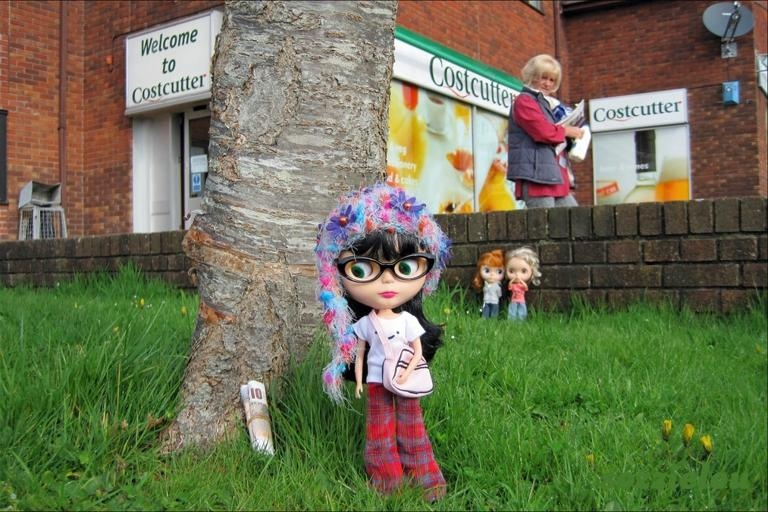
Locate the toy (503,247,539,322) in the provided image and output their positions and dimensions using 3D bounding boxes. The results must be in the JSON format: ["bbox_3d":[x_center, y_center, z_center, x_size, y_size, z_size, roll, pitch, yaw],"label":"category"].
[{"bbox_3d":[1.281,0.257,5.575,0.314,0.632,0.200,2,-5,-30],"label":"toy"}]

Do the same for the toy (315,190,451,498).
[{"bbox_3d":[-0.006,0.413,2.997,0.648,1.552,0.283,0,-4,5],"label":"toy"}]

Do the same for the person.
[{"bbox_3d":[1.538,-1.177,5.858,0.708,1.485,0.556,-1,-4,19],"label":"person"}]

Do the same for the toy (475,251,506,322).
[{"bbox_3d":[0.978,0.253,5.677,0.275,0.616,0.219,0,-4,4],"label":"toy"}]

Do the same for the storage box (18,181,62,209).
[{"bbox_3d":[-6.479,-1.151,11.504,0.468,0.547,0.665,-2,-2,32],"label":"storage box"}]
